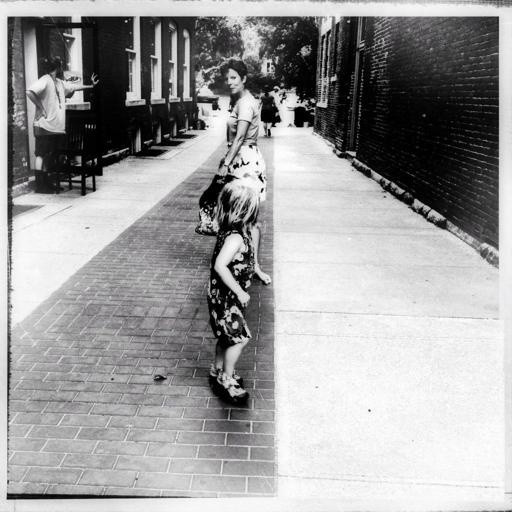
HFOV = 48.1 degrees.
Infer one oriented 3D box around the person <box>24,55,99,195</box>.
[{"bbox_3d":[-3.476,-2.173,9.724,0.620,2.189,1.135,3,19,8],"label":"person"}]
